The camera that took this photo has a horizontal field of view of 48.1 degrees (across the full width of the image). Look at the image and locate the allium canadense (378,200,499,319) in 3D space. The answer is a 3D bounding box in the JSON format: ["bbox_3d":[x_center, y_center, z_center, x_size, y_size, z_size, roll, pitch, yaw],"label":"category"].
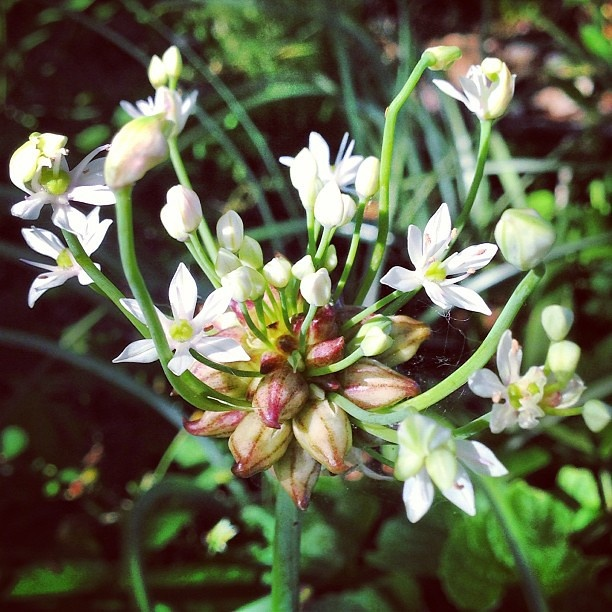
[{"bbox_3d":[0.136,-0.036,0.702,0.104,0.125,0.133,6,44,8],"label":"allium canadense"}]

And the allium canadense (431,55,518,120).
[{"bbox_3d":[0.168,-0.213,0.683,0.082,0.039,0.076,-6,11,23],"label":"allium canadense"}]

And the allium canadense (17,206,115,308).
[{"bbox_3d":[-0.239,-0.047,0.679,0.098,0.093,0.039,-30,86,-43],"label":"allium canadense"}]

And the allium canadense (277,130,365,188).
[{"bbox_3d":[0.019,-0.162,0.744,0.077,0.067,0.031,-11,66,-29],"label":"allium canadense"}]
